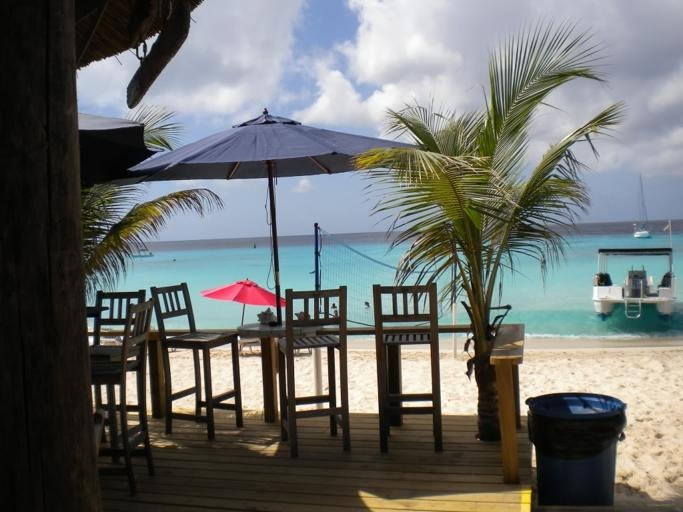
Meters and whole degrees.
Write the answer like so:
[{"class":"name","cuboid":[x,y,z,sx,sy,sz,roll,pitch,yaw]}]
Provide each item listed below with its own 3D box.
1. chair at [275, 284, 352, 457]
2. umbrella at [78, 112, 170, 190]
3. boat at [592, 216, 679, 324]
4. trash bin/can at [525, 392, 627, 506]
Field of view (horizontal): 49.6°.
[{"class":"chair","cuboid":[-0.240,0.913,6.414,0.621,1.322,2.025,1,-1,-1]},{"class":"umbrella","cuboid":[-1.750,-0.784,5.748,0.528,0.438,0.646,1,-1,-19]},{"class":"boat","cuboid":[9.593,1.056,23.910,2.495,3.461,5.261,0,4,14]},{"class":"trash bin/can","cuboid":[1.664,1.411,5.424,0.755,0.888,0.729,-15,-14,42]}]
